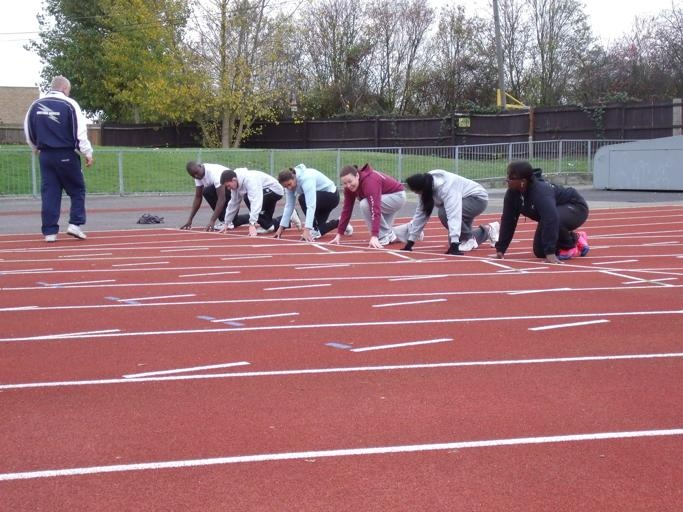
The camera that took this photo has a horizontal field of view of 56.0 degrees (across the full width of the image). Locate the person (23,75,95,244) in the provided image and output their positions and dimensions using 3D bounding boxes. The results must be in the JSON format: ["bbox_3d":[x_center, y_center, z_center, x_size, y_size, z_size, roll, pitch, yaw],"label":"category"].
[{"bbox_3d":[-4.285,-1.462,9.775,1.041,2.515,0.558,0,9,0],"label":"person"}]

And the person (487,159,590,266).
[{"bbox_3d":[2.567,-0.567,8.174,1.302,1.282,0.841,-7,12,-37],"label":"person"}]

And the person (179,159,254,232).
[{"bbox_3d":[-2.135,-1.071,11.457,0.668,1.120,1.561,1,7,27],"label":"person"}]

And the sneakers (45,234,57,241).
[{"bbox_3d":[-4.480,-0.287,9.877,0.087,0.118,0.263,0,-2,-16],"label":"sneakers"}]

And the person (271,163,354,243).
[{"bbox_3d":[-0.434,-0.861,10.457,1.261,1.162,0.702,-9,5,-38],"label":"person"}]

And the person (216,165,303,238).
[{"bbox_3d":[-1.383,-0.924,11.167,1.438,1.145,0.787,-10,5,-36],"label":"person"}]

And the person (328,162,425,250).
[{"bbox_3d":[0.573,-0.753,9.589,1.310,1.233,0.854,-6,8,-33],"label":"person"}]

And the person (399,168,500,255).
[{"bbox_3d":[1.623,-0.624,9.056,1.469,1.131,0.884,-4,0,-20],"label":"person"}]
